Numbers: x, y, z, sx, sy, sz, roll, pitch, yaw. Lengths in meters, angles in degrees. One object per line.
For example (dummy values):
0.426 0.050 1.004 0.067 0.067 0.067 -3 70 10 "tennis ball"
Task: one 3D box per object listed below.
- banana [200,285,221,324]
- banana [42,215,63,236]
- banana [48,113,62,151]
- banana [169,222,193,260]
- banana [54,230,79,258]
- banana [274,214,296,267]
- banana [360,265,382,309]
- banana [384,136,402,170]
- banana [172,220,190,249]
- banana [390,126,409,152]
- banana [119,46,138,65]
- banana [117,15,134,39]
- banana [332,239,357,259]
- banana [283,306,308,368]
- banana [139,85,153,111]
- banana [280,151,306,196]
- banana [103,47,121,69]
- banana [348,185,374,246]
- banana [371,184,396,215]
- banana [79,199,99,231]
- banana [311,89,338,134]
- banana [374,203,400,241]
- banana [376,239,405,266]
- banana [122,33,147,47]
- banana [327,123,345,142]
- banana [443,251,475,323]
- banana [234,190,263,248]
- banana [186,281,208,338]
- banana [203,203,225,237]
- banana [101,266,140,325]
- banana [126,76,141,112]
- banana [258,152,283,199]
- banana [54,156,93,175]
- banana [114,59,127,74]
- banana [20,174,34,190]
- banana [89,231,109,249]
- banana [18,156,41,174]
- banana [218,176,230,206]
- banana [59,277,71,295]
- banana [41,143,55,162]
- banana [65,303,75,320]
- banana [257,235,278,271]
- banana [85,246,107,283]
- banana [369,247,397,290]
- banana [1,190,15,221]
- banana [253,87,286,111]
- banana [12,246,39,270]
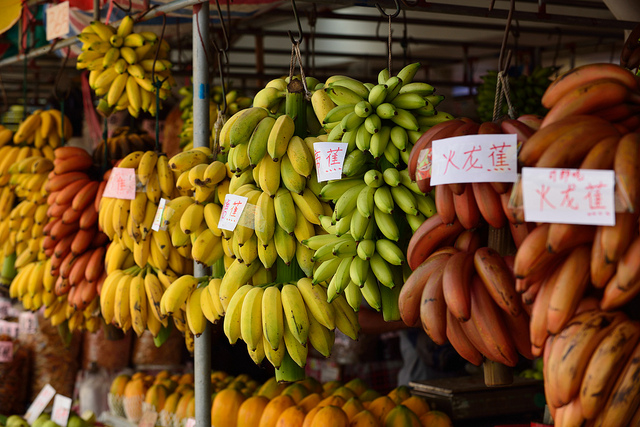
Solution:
-0.483 0.400 2.418 0.081 0.205 0.055 -2 -14 -34 "banana"
-1.362 0.060 2.851 0.022 0.114 0.029 28 -15 24 "banana"
-1.607 -0.457 3.417 0.070 0.331 0.094 0 -7 -33 "banana"
-0.621 0.161 2.529 0.081 0.249 0.063 27 42 36 "banana"
-1.291 0.152 2.840 0.034 0.142 0.047 17 -30 27 "banana"
-0.134 0.106 2.232 0.055 0.206 0.067 -6 10 9 "banana"
0.187 0.275 2.048 0.044 0.187 0.060 -11 11 -13 "banana"
0.257 -0.218 1.993 0.032 0.129 0.044 -23 -19 7 "banana"
-0.596 0.093 2.428 0.048 0.163 0.039 -3 14 -36 "banana"
0.279 -0.272 1.978 0.048 0.094 0.031 -27 1 -15 "banana"
-0.913 -0.761 2.666 0.052 0.108 0.052 -50 -12 29 "banana"
-0.931 -0.901 2.691 0.059 0.124 0.044 36 37 1 "banana"
0.089 0.131 2.017 0.084 0.053 0.031 -8 13 -21 "banana"
-0.098 0.467 2.211 0.073 0.263 0.066 -6 3 42 "banana"
-0.858 -0.569 2.747 0.037 0.161 0.049 -4 2 -2 "banana"
-0.108 -0.143 2.206 0.064 0.213 0.062 -17 -21 28 "banana"
-0.992 -0.749 2.662 0.052 0.115 0.039 31 -29 -11 "banana"
0.159 0.022 2.021 0.058 0.237 0.072 8 12 -33 "banana"
0.228 -0.054 1.994 0.082 0.103 0.111 0 0 11 "banana"
-1.203 -0.003 2.838 0.169 0.048 0.053 -42 -2 23 "banana"
0.003 -0.422 2.228 0.056 0.181 0.084 -17 -21 -21 "banana"
0.229 0.021 2.032 0.054 0.173 0.050 1 -38 -43 "banana"
0.244 0.131 2.002 0.044 0.060 0.119 17 27 -47 "banana"
-0.890 -0.830 2.671 0.158 0.054 0.060 4 -9 40 "banana"
0.059 -0.293 2.044 0.037 0.110 0.030 -1 43 -32 "banana"
0.439 0.227 1.748 0.114 0.206 0.076 0 -1 -8 "banana"
-0.289 0.020 2.246 0.090 0.109 0.330 8 36 1 "banana"
-0.535 0.418 2.428 0.075 0.235 0.066 8 -14 -36 "banana"
-0.447 0.018 2.394 0.070 0.158 0.054 -25 -29 8 "banana"
-0.965 0.344 2.705 0.105 0.349 0.079 17 -1 -17 "banana"
-0.908 -0.586 2.718 0.053 0.191 0.059 -20 -8 13 "banana"
-0.196 -0.150 2.182 0.067 0.212 0.055 20 -34 -37 "banana"
-1.269 -0.254 2.882 0.219 0.061 0.074 -19 57 -43 "banana"
-0.959 -0.711 2.680 0.048 0.074 0.039 2 -4 -13 "banana"
-1.580 -0.171 3.019 0.019 0.086 0.027 43 -27 -18 "banana"
-1.141 0.137 2.883 0.064 0.124 0.038 46 -21 -22 "banana"
-1.611 -0.277 3.111 0.091 0.099 0.140 0 0 19 "banana"
-0.409 -0.106 2.392 0.042 0.138 0.034 11 -12 -26 "banana"
-1.318 0.376 2.891 0.055 0.091 0.075 1 -1 -36 "banana"
-1.599 -0.359 3.284 0.033 0.132 0.040 -18 -5 -43 "banana"
-1.329 0.518 2.975 0.041 0.114 0.028 -6 27 -41 "banana"
-0.209 0.162 2.223 0.047 0.168 0.059 3 28 12 "banana"
-1.131 0.253 2.855 0.060 0.212 0.064 20 -38 -15 "banana"
0.222 0.201 2.001 0.052 0.184 0.059 -24 -2 31 "banana"
-1.830 -0.045 3.270 0.031 0.169 0.051 21 -1 -10 "banana"
-0.213 -0.488 2.332 0.099 0.092 0.052 -4 -41 -1 "banana"
-1.652 0.247 3.148 0.061 0.165 0.032 45 0 -27 "banana"
